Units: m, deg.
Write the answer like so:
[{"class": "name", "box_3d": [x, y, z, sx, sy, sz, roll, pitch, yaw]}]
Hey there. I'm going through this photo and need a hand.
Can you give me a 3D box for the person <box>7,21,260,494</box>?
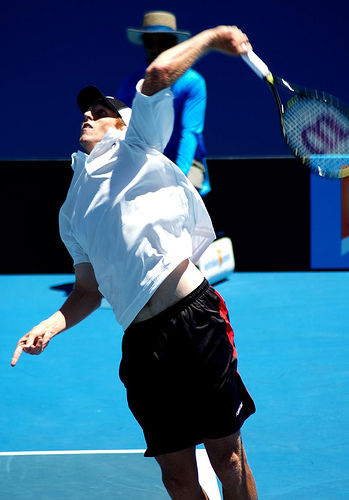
[{"class": "person", "box_3d": [-0.097, 0.037, 1.666, 0.662, 1.377, 0.497, 2, 7, 26]}]
